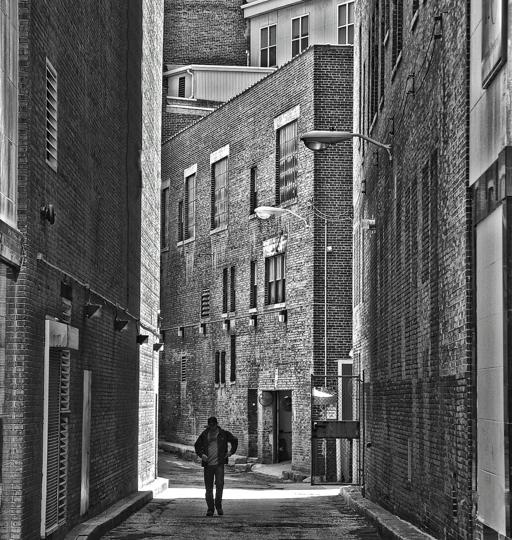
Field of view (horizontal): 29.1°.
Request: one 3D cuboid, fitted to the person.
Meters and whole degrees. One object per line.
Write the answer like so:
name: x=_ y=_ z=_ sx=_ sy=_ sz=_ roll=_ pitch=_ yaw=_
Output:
person: x=-0.767 y=3.654 z=18.278 sx=0.729 sy=1.811 sz=1.125 roll=-1 pitch=-6 yaw=-2
